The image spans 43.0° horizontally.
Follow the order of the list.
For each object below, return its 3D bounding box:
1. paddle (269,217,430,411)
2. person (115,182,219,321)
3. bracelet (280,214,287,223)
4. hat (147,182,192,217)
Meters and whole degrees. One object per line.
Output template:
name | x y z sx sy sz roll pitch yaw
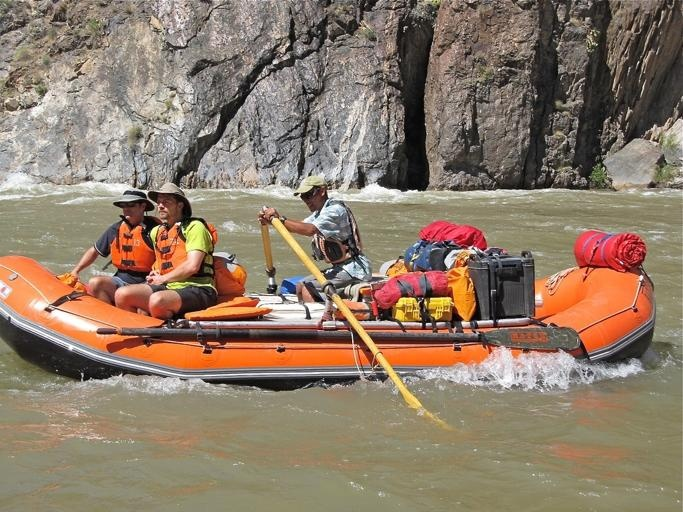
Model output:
paddle | 0.065 0.769 10.587 0.351 3.189 0.188 -34 -17 -28
person | -2.017 -0.075 10.264 1.108 1.598 0.627 2 6 -7
bracelet | -0.715 -0.466 10.618 0.073 0.091 0.039 6 8 33
hat | -1.972 -0.774 10.459 0.458 0.170 0.479 1 -28 24
